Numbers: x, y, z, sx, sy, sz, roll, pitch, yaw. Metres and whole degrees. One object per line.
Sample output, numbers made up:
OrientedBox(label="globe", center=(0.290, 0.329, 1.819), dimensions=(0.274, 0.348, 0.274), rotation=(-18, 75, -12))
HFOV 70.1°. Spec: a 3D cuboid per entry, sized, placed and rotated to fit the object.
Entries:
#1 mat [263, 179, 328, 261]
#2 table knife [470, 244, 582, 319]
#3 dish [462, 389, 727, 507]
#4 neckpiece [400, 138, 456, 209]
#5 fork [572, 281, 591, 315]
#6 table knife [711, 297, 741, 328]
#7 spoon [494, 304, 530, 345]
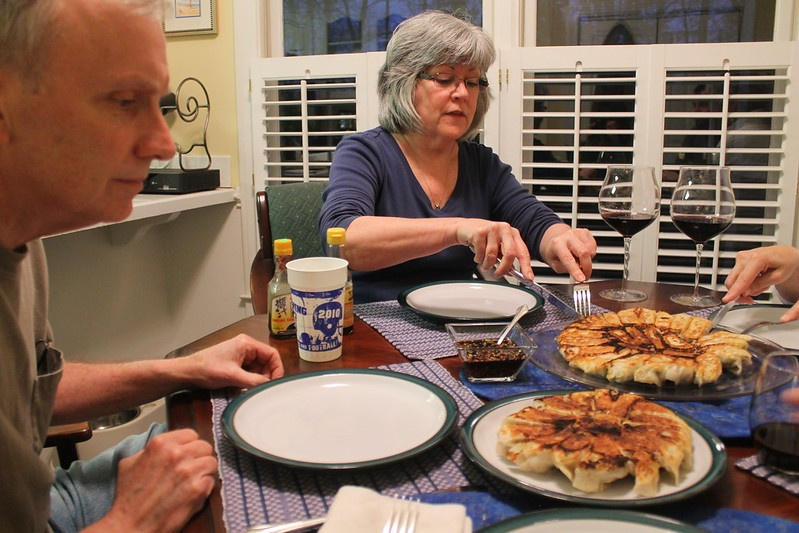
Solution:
OrientedBox(label="mat", center=(-0.434, -0.195, 2.206), dimensions=(0.349, 0.326, 0.079), rotation=(26, 36, 17))
OrientedBox(label="table knife", center=(0.342, 0.042, 1.572), dimensions=(0.045, 0.053, 0.391), rotation=(-20, 37, -35))
OrientedBox(label="dish", center=(0.282, 0.268, 0.856), dimensions=(0.366, 0.055, 0.251), rotation=(7, 20, 25))
OrientedBox(label="neckpiece", center=(0.129, -0.357, 2.130), dimensions=(0.180, 0.295, 0.074), rotation=(-5, 5, -12))
OrientedBox(label="fork", center=(0.463, 0.080, 1.471), dimensions=(0.052, 0.036, 0.264), rotation=(4, 8, 18))
OrientedBox(label="table knife", center=(0.773, 0.113, 1.347), dimensions=(0.013, 0.013, 0.121), rotation=(47, 43, 10))
OrientedBox(label="spoon", center=(0.250, 0.113, 1.231), dimensions=(0.036, 0.023, 0.158), rotation=(44, 44, -1))
